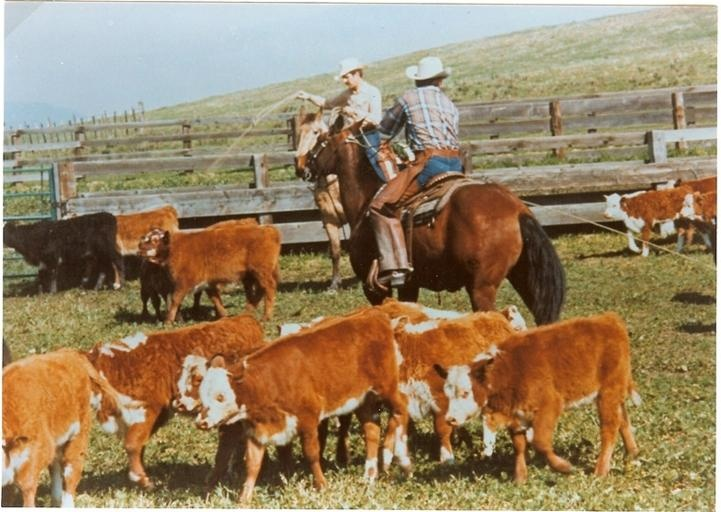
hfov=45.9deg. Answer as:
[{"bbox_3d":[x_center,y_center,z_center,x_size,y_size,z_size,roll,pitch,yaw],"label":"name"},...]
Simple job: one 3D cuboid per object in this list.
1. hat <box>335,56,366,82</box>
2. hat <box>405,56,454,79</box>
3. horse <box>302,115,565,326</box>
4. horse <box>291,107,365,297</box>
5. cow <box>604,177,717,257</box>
[{"bbox_3d":[-0.114,-1.862,8.496,0.322,0.182,0.211,-3,8,9],"label":"hat"},{"bbox_3d":[0.657,-1.814,8.334,0.287,0.116,0.305,16,27,36],"label":"hat"},{"bbox_3d":[0.625,-0.121,8.577,2.995,1.889,0.886,14,23,28],"label":"horse"},{"bbox_3d":[-0.325,-0.565,8.896,0.423,1.755,1.343,-12,2,7],"label":"horse"},{"bbox_3d":[3.331,-0.439,9.449,1.097,0.722,0.625,-5,8,-8],"label":"cow"}]
